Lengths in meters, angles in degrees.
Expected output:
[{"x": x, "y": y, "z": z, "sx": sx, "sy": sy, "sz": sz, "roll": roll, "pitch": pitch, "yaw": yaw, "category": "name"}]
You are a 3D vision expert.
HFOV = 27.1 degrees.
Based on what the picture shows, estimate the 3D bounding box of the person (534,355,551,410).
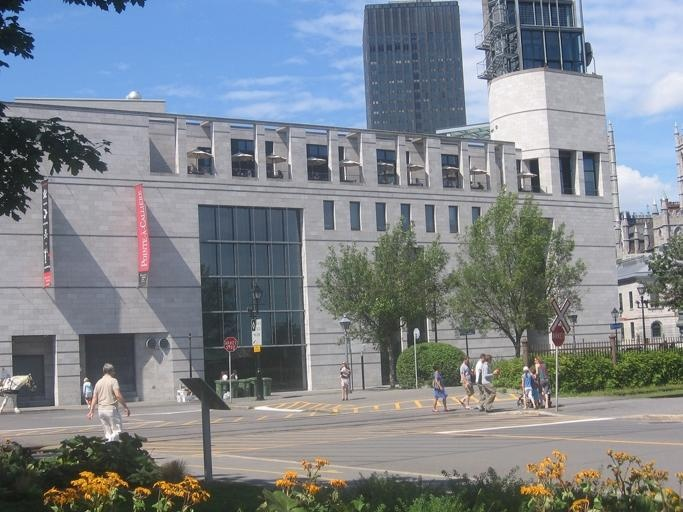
[{"x": 10.293, "y": 6.408, "z": 72.237, "sx": 0.709, "sy": 2.613, "sz": 1.379, "roll": -4, "pitch": -6, "yaw": 8, "category": "person"}]

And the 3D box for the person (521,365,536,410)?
[{"x": 9.575, "y": 6.641, "z": 72.046, "sx": 0.598, "sy": 2.067, "sz": 0.475, "roll": -3, "pitch": -6, "yaw": -4, "category": "person"}]

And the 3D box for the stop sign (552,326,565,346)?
[{"x": 11.001, "y": 4.015, "z": 71.375, "sx": 0.630, "sy": 1.036, "sz": 0.821, "roll": -4, "pitch": -6, "yaw": 10, "category": "stop sign"}]
